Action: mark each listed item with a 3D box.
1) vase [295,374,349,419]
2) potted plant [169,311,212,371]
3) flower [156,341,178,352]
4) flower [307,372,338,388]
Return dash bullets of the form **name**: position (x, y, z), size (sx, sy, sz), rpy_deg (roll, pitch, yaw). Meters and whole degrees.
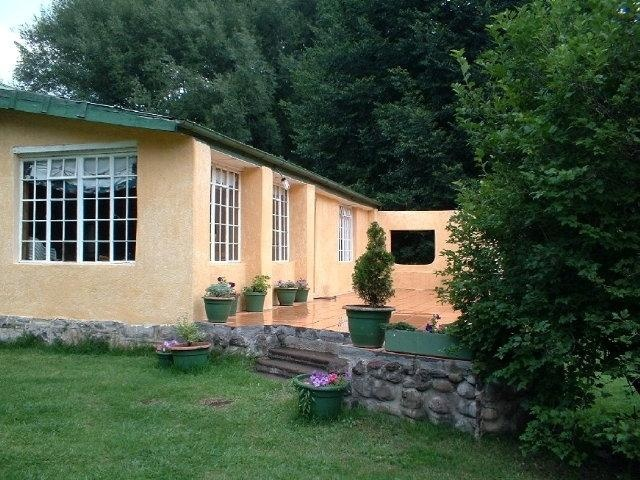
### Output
- **vase**: position (-0.005, 1.741, 6.030), size (0.522, 0.311, 0.518), rpy_deg (0, -10, 0)
- **potted plant**: position (-1.868, 1.541, 7.704), size (0.605, 0.695, 0.603), rpy_deg (-1, -8, -4)
- **flower**: position (-2.247, 1.547, 7.710), size (0.269, 0.097, 0.272), rpy_deg (2, -4, -21)
- **flower**: position (0.016, 1.577, 6.001), size (0.190, 0.103, 0.192), rpy_deg (2, -7, -15)
